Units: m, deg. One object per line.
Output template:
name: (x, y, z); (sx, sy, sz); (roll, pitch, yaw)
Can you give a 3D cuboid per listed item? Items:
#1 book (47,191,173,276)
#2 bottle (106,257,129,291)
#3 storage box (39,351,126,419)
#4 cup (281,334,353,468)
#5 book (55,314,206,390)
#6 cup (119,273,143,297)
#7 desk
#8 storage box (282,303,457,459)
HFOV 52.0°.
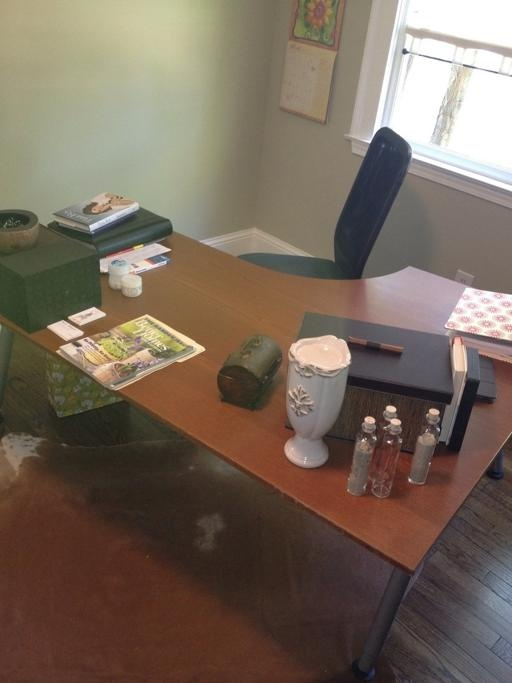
book: (-0.463, -0.370, 1.710); (0.286, 0.113, 0.343); (35, 35, 30)
bottle: (-0.387, -0.189, 1.536); (0.074, 0.082, 0.074); (-17, 44, -35)
storage box: (-0.560, 0.149, 1.674); (0.230, 0.164, 0.125); (-16, 45, -37)
cup: (0.096, 0.108, 0.922); (0.113, 0.227, 0.142); (14, 28, 5)
book: (-0.288, 0.020, 1.233); (0.233, 0.031, 0.284); (29, 32, 30)
cup: (-0.342, -0.155, 1.484); (0.062, 0.051, 0.059); (1, 36, -1)
desk: (-0.045, 0.311, 1.366); (1.197, 0.294, 0.756); (24, 53, 19)
storage box: (0.228, 0.083, 1.075); (0.267, 0.145, 0.269); (9, 23, 6)
